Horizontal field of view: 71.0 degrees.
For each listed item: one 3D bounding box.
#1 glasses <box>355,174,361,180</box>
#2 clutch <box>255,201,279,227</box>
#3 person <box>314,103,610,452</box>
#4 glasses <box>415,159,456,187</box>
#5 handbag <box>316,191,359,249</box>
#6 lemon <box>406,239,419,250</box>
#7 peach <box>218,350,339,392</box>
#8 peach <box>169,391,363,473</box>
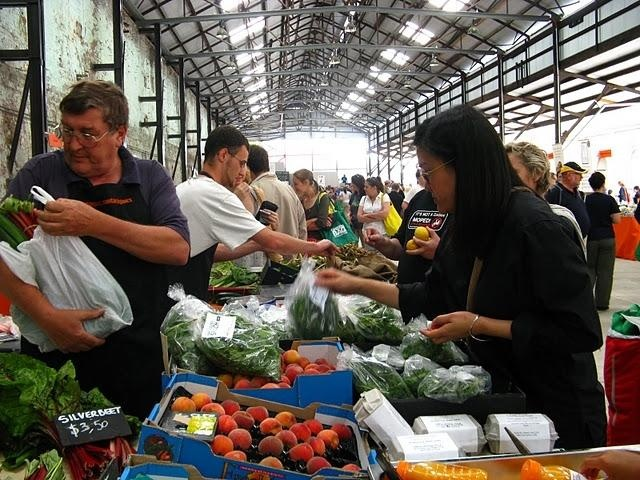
[{"bbox_3d":[0.757,-1.217,8.851,0.127,0.050,0.121,0,31,-2],"label":"glasses"},{"bbox_3d":[-0.414,-0.204,3.531,0.153,0.195,0.269,-1,10,-9],"label":"clutch"},{"bbox_3d":[0.608,0.105,1.709,0.514,1.198,0.871,-8,13,-41],"label":"person"},{"bbox_3d":[0.450,-0.253,1.706,0.106,0.035,0.102,-17,-1,3],"label":"glasses"},{"bbox_3d":[0.304,-0.191,5.533,0.438,0.807,0.434,-3,8,-28],"label":"handbag"},{"bbox_3d":[0.551,0.044,2.682,0.060,0.060,0.070,-9,46,35],"label":"lemon"},{"bbox_3d":[-0.164,0.431,1.634,0.361,0.106,0.301,-2,5,-39],"label":"peach"},{"bbox_3d":[-0.172,0.560,1.303,0.433,0.097,0.239,11,12,-4],"label":"peach"}]
